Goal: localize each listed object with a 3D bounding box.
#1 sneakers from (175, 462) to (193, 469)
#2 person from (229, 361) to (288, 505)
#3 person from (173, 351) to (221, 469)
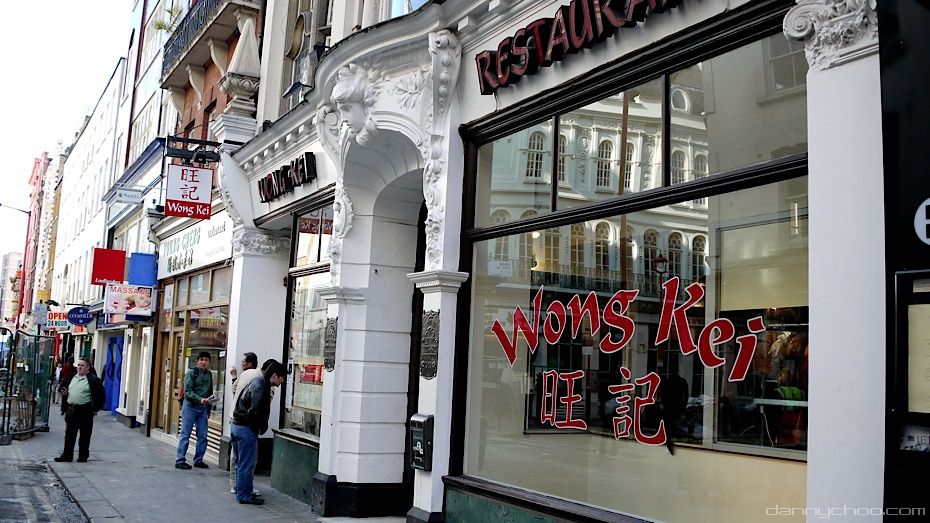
[{"bbox_3d":[-6.185,4.491,16.303,0.378,0.159,0.150,-1,-9,14],"label":"sneakers"},{"bbox_3d":[-3.665,2.994,12.905,0.732,2.476,1.208,4,-11,-20],"label":"person"},{"bbox_3d":[-5.961,3.331,16.613,0.830,2.544,0.792,-2,-11,14],"label":"person"}]
